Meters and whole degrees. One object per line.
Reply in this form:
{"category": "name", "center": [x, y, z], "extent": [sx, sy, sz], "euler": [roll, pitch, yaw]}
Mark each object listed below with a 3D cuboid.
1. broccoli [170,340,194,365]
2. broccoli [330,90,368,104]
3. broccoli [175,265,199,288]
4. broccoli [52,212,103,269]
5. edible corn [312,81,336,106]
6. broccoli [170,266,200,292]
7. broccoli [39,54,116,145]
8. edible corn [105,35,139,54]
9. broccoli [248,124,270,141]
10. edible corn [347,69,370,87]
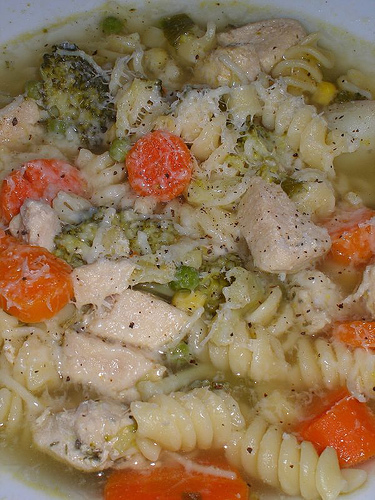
{"category": "broccoli", "center": [-0.033, 0.513, 2.723], "extent": [0.111, 0.054, 0.110], "euler": [-10, 64, -5]}
{"category": "broccoli", "center": [0.990, -0.939, 3.346], "extent": [0.168, 0.034, 0.086], "euler": [2, 56, 7]}
{"category": "broccoli", "center": [-0.002, 0.132, 2.801], "extent": [0.121, 0.061, 0.113], "euler": [2, 64, 1]}
{"category": "broccoli", "center": [-0.577, -0.045, 2.788], "extent": [0.285, 0.077, 0.227], "euler": [-5, 82, 0]}
{"category": "edible corn", "center": [0.815, -0.970, 3.405], "extent": [0.134, 0.114, 0.154], "euler": [-10, 45, -13]}
{"category": "broccoli", "center": [-0.013, 0.144, 2.837], "extent": [0.118, 0.085, 0.146], "euler": [-36, 89, -3]}
{"category": "broccoli", "center": [-0.646, -0.898, 3.242], "extent": [0.394, 0.325, 0.478], "euler": [-12, 65, -5]}
{"category": "edible corn", "center": [-0.423, -1.327, 3.537], "extent": [0.237, 0.118, 0.055], "euler": [5, 43, 14]}
{"category": "broccoli", "center": [0.400, -0.660, 3.070], "extent": [0.100, 0.109, 0.030], "euler": [52, 120, 24]}
{"category": "edible corn", "center": [1.090, -1.108, 3.499], "extent": [0.148, 0.138, 0.042], "euler": [48, 118, 35]}
